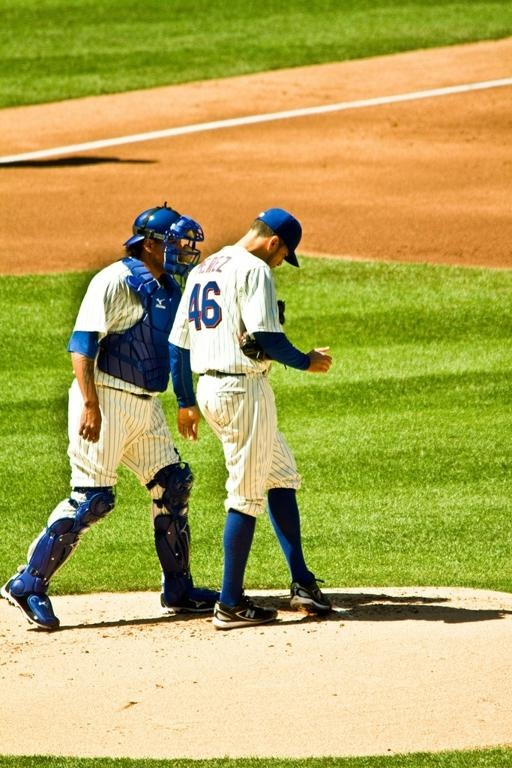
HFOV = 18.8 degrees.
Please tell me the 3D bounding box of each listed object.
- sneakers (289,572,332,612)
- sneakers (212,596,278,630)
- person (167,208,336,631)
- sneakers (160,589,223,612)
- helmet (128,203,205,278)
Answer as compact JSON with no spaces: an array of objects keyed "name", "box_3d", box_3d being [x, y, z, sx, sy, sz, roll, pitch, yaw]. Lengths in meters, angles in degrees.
[{"name":"sneakers","box_3d":[0.219,0.913,6.813,0.245,0.184,0.093,22,-24,-41]},{"name":"sneakers","box_3d":[-0.055,1.012,6.817,0.281,0.155,0.118,-4,1,-14]},{"name":"person","box_3d":[-0.024,0.157,6.796,0.694,1.811,0.457,-2,11,-4]},{"name":"sneakers","box_3d":[-0.301,0.988,7.079,0.272,0.151,0.107,-4,5,-1]},{"name":"helmet","box_3d":[-0.427,-0.673,7.089,0.321,0.353,0.277,9,14,11]}]
